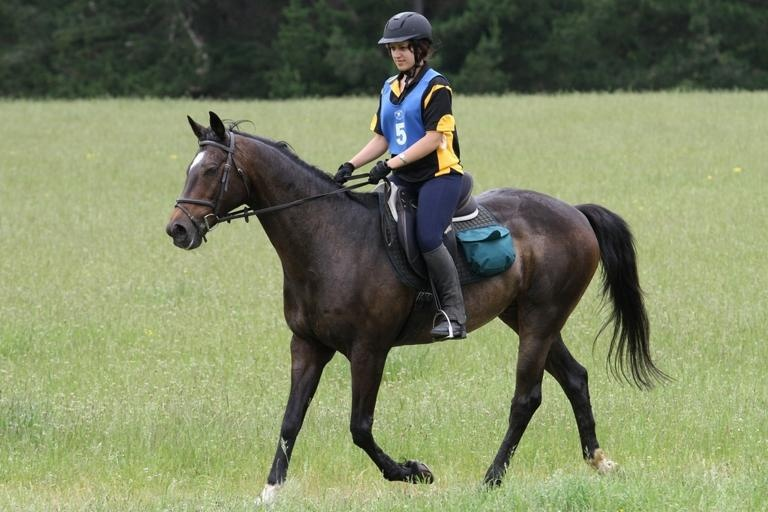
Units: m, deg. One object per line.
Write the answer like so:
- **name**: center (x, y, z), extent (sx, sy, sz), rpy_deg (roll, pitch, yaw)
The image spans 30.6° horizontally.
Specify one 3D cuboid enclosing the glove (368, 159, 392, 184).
- **glove**: center (-0.081, -1.734, 29.417), extent (0.186, 0.496, 0.364), rpy_deg (29, 6, 11)
